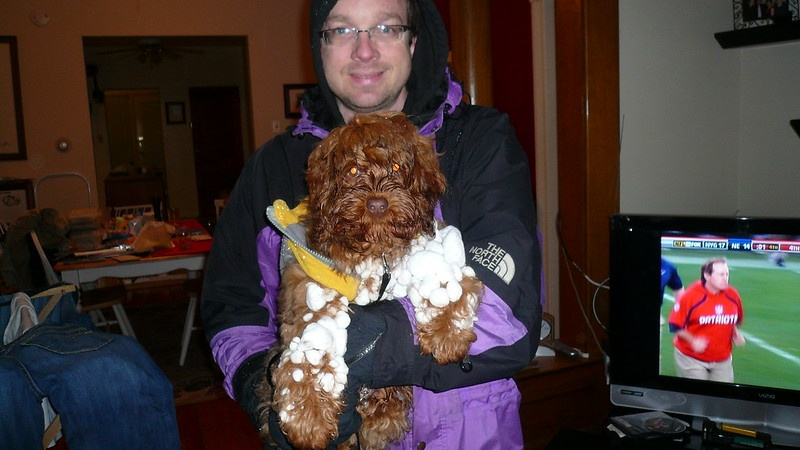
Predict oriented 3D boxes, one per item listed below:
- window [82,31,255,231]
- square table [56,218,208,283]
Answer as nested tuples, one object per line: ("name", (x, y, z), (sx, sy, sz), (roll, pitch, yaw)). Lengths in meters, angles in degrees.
("window", (-5.219, -2.299, 13.994), (4.452, 6.017, 0.389), (4, 19, -7))
("square table", (-3.143, 0.420, 7.567), (0.993, 0.273, 1.087), (-7, 17, -8))
